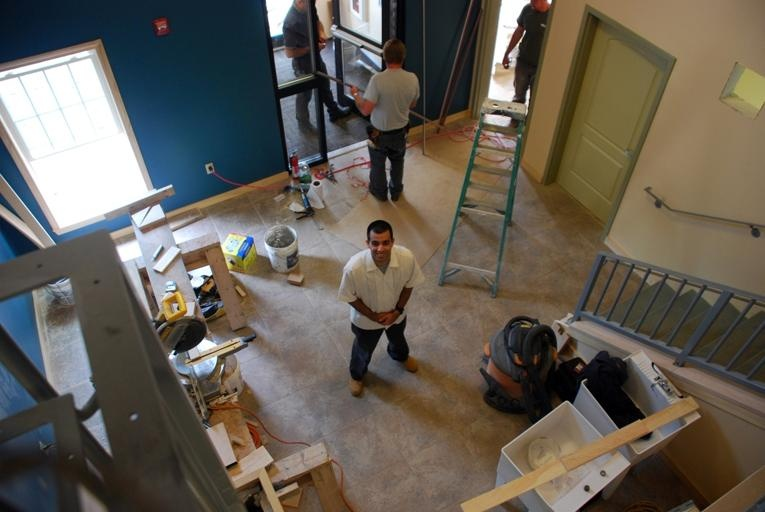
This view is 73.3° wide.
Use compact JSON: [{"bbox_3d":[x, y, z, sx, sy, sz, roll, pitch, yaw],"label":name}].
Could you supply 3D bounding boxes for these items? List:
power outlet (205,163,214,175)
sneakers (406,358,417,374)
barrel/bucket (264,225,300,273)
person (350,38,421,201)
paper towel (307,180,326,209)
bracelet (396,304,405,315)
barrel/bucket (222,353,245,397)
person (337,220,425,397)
[{"bbox_3d":[-2.250,-1.144,6.753,0.098,0.144,0.042,-23,47,-29],"label":"power outlet"},{"bbox_3d":[0.302,1.142,5.307,0.085,0.076,0.182,-29,53,-2],"label":"sneakers"},{"bbox_3d":[-1.200,-0.057,6.154,0.323,0.356,0.324,-1,54,1],"label":"barrel/bucket"},{"bbox_3d":[0.044,-1.668,6.495,0.798,2.100,0.444,-7,36,-8],"label":"person"},{"bbox_3d":[-0.905,-0.864,6.989,0.228,0.320,0.360,-5,37,-6],"label":"paper towel"},{"bbox_3d":[0.167,0.493,4.638,0.081,0.080,0.082,10,56,21],"label":"bracelet"},{"bbox_3d":[-1.469,1.195,5.062,0.144,0.454,0.392,-5,36,-5],"label":"barrel/bucket"},{"bbox_3d":[-0.020,0.522,4.730,0.746,1.926,0.428,-20,40,-24],"label":"person"}]
